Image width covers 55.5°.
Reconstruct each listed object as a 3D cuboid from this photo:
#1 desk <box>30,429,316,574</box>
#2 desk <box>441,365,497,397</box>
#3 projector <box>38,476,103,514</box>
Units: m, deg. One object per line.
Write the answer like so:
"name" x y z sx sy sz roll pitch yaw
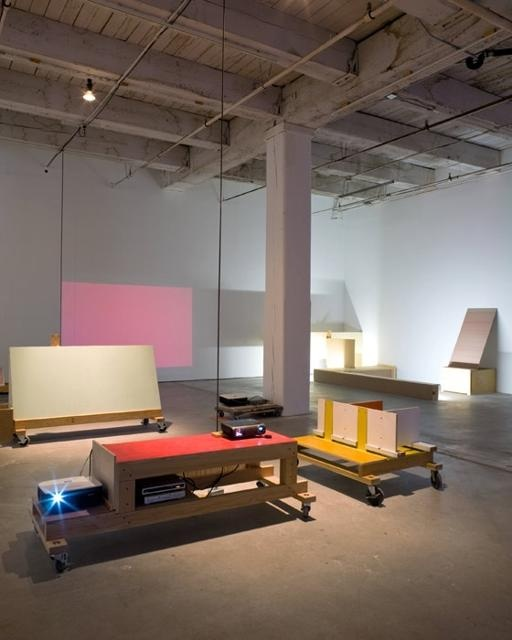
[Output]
"desk" -0.429 0.913 2.729 1.456 0.476 0.594 1 -2 -32
"desk" 3.783 1.077 8.614 0.587 0.347 0.575 0 1 -23
"projector" -0.931 0.883 2.478 0.317 0.113 0.289 1 -2 -24
